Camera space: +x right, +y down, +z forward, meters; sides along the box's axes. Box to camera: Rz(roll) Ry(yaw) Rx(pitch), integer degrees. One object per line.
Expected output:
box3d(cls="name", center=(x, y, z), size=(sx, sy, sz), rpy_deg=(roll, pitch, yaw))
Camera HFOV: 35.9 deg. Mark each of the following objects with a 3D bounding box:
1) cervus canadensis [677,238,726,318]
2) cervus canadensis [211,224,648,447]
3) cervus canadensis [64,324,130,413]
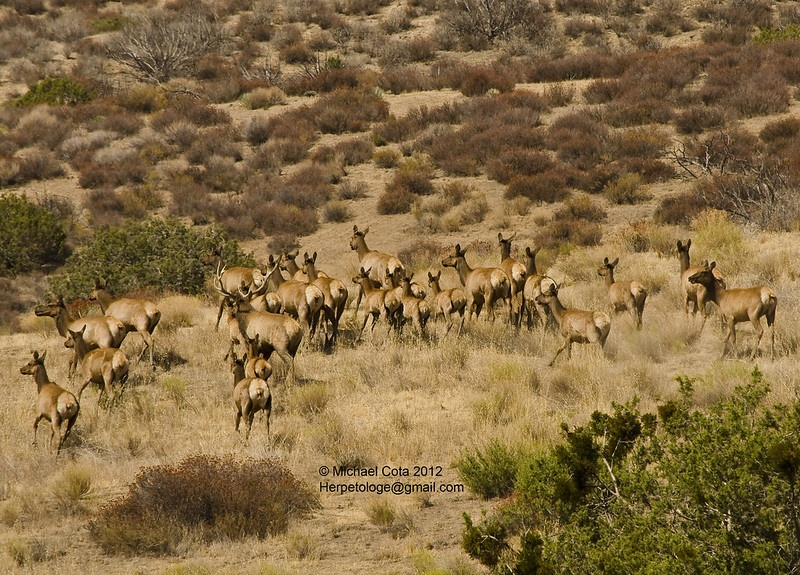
box3d(cls="cervus canadensis", center=(9.126, -0.296, 37.653), size=(1.056, 2.809, 1.279), rpy_deg=(-8, 12, -16))
box3d(cls="cervus canadensis", center=(2.675, 0.673, 37.595), size=(9.200, 3.483, 4.889), rpy_deg=(-1, 19, 19))
box3d(cls="cervus canadensis", center=(-8.673, 2.213, 35.517), size=(1.380, 2.799, 1.492), rpy_deg=(0, 3, 44))
